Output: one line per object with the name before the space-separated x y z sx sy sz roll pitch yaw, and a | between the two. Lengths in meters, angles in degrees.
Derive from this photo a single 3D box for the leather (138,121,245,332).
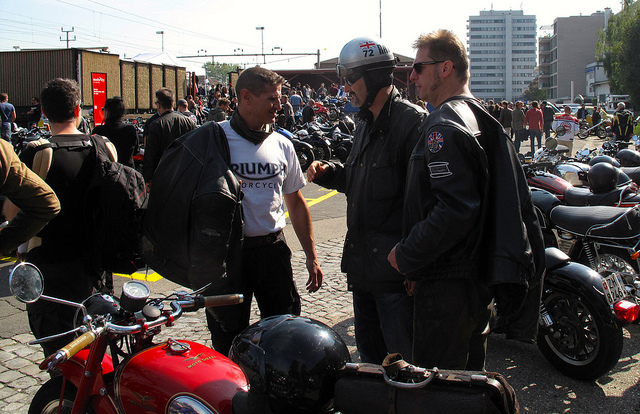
leather | -0.835 0.061 3.628 0.608 1.459 0.749 2 0 -34

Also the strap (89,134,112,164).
strap | -1.690 -0.436 3.865 0.175 0.231 0.115 -1 -27 -41

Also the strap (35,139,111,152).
strap | -1.815 -0.479 3.723 0.074 0.098 0.547 1 12 41

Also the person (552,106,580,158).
person | 9.422 -2.792 19.031 0.886 2.552 0.792 4 37 27

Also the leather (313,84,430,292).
leather | 0.402 -0.154 3.857 0.880 1.545 0.590 2 0 15
